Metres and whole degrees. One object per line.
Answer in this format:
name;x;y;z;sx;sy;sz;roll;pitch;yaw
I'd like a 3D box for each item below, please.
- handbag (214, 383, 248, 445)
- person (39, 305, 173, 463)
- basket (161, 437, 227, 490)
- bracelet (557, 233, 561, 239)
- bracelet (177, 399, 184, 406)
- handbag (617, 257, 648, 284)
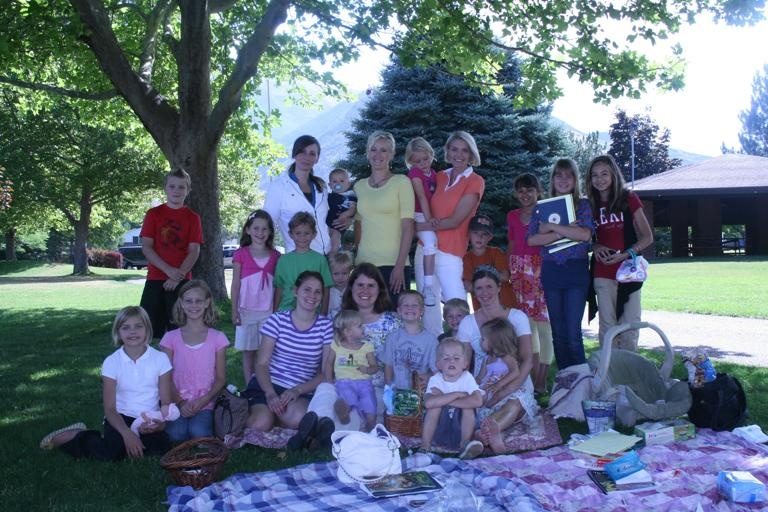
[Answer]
handbag;-1.897;2.031;7.512;0.491;0.843;0.776;4;-21;-16
person;-2.983;1.440;6.784;1.080;1.683;0.527;-1;1;-16
basket;-1.991;2.171;6.143;0.659;0.445;0.378;-1;1;-23
bracelet;2.395;-0.265;8.014;0.054;0.072;0.056;0;1;40
bracelet;-2.463;1.770;7.078;0.072;0.053;0.071;2;-7;-30
handbag;3.432;0.170;8.126;0.393;0.345;0.181;0;1;19
